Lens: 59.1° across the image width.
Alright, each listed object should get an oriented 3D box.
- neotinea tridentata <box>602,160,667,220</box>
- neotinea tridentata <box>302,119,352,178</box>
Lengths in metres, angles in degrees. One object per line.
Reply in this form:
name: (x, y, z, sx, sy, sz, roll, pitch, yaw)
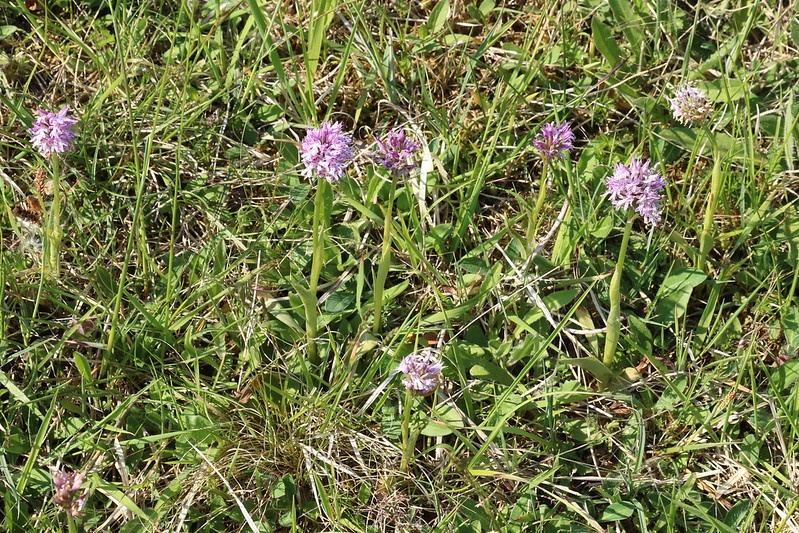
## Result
neotinea tridentata: (0.734, -0.236, 2.232, 0.148, 0.171, 0.152, -11, 57, 13)
neotinea tridentata: (-0.212, -0.339, 2.131, 0.171, 0.190, 0.183, 3, 66, -2)
